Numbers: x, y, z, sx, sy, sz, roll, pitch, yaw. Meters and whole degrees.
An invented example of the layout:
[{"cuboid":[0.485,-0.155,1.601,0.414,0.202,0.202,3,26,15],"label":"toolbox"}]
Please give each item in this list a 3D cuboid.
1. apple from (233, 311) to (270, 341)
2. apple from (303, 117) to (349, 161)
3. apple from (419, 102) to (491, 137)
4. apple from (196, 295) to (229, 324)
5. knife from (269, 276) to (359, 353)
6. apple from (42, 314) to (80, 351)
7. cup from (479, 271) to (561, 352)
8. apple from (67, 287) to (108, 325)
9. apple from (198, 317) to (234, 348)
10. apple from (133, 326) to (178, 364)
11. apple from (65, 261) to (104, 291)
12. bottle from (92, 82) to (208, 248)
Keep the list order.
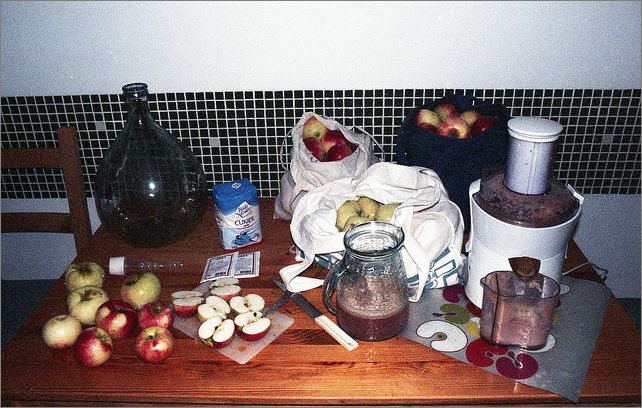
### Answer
[{"cuboid":[-0.194,0.348,1.352,0.081,0.046,0.075,-2,41,-16],"label":"apple"},{"cuboid":[0.019,-0.223,1.659,0.193,0.119,0.143,4,33,18],"label":"apple"},{"cuboid":[0.450,-0.280,1.607,0.186,0.071,0.145,-11,22,-19],"label":"apple"},{"cuboid":[-0.315,0.308,1.387,0.071,0.041,0.071,30,43,13],"label":"apple"},{"cuboid":[-0.030,0.327,1.393,0.109,0.015,0.346,-24,37,-39],"label":"knife"},{"cuboid":[-0.724,0.359,1.320,0.098,0.071,0.092,9,6,3],"label":"apple"},{"cuboid":[0.536,0.299,1.296,0.197,0.187,0.235,9,29,19],"label":"cup"},{"cuboid":[-0.683,0.300,1.418,0.111,0.060,0.104,-14,48,-24],"label":"apple"},{"cuboid":[-0.295,0.362,1.341,0.080,0.046,0.077,-16,46,-17],"label":"apple"},{"cuboid":[-0.456,0.394,1.352,0.097,0.094,0.087,-2,43,7],"label":"apple"},{"cuboid":[-0.758,0.240,1.527,0.098,0.057,0.092,-33,53,-31],"label":"apple"},{"cuboid":[-0.580,-0.134,1.623,0.365,0.493,0.360,2,31,-1],"label":"bottle"}]
